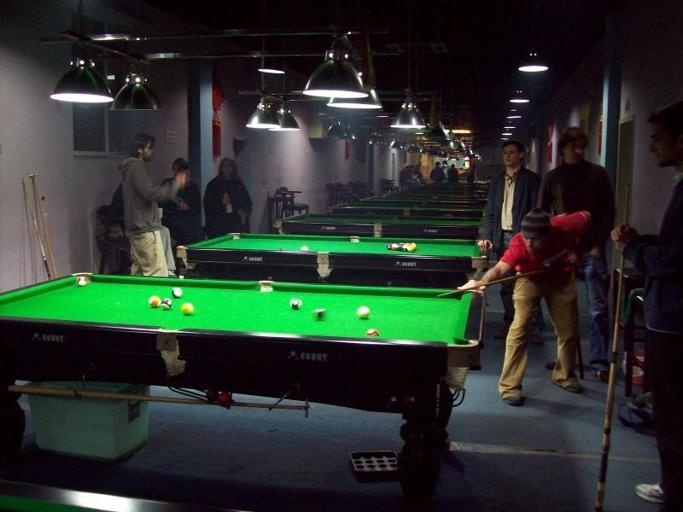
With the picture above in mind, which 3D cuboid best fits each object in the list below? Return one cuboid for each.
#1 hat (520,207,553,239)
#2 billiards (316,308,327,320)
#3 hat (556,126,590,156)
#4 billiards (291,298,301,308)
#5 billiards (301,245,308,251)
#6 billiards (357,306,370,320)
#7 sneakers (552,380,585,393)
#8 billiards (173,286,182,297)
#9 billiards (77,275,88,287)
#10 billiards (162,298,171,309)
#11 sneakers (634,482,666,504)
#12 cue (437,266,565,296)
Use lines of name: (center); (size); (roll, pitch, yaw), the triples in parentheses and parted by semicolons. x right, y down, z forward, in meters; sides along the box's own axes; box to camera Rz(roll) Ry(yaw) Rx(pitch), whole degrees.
hat: (1.376, -0.230, 4.139); (0.207, 0.199, 0.198); (-2, 2, -36)
billiards: (-0.121, 0.354, 3.641); (0.053, 0.054, 0.025); (-11, -17, 40)
hat: (1.936, -0.979, 5.073); (0.249, 0.300, 0.312); (4, 5, 9)
billiards: (-0.284, 0.298, 3.779); (0.045, 0.055, 0.059); (7, 22, 16)
billiards: (-0.345, -0.074, 5.602); (0.054, 0.063, 0.054); (0, -3, 12)
billiards: (0.138, 0.345, 3.656); (0.068, 0.069, 0.068); (-1, 0, 0)
sneakers: (1.853, 1.048, 4.876); (0.090, 0.079, 0.185); (-4, 0, -40)
billiards: (-1.101, 0.239, 4.024); (0.064, 0.060, 0.060); (-2, 9, 0)
billiards: (-1.895, 0.188, 4.421); (0.058, 0.074, 0.071); (1, 32, 9)
billiards: (-1.101, 0.302, 3.806); (0.048, 0.065, 0.064); (7, 8, -13)
sneakers: (1.787, 1.373, 3.502); (0.189, 0.087, 0.078); (3, 49, 38)
cue: (1.239, 0.184, 4.641); (0.177, 0.079, 1.548); (7, 8, 32)
